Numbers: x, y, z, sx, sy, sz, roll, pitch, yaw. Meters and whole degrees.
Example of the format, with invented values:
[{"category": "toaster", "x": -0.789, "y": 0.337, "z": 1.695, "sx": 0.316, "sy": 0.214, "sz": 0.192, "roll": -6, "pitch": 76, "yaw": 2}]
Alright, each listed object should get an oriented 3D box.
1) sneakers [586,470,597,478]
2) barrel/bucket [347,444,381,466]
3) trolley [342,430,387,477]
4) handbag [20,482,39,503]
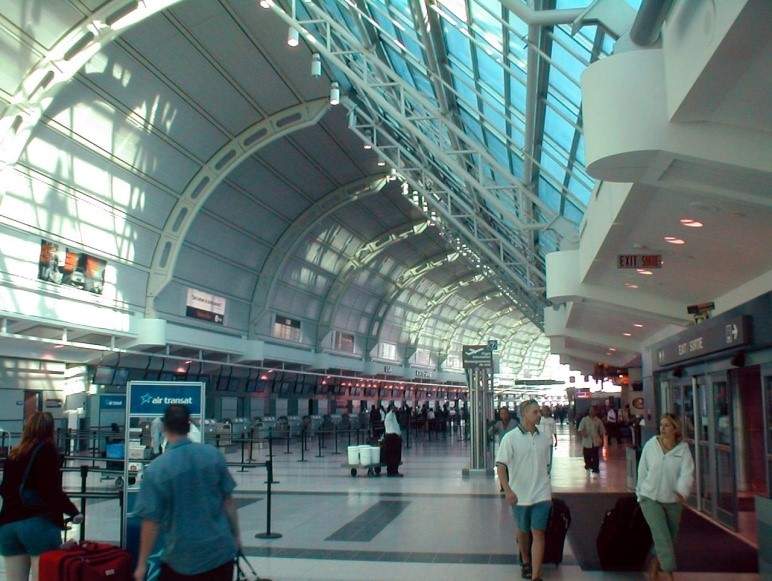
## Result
[{"category": "sneakers", "x": 6.510, "y": 5.826, "z": 18.599, "sx": 0.202, "sy": 0.274, "sz": 0.633, "roll": -2, "pitch": -20, "yaw": 8}, {"category": "barrel/bucket", "x": -0.740, "y": 5.158, "z": 18.525, "sx": 0.538, "sy": 0.598, "sz": 0.944, "roll": 2, "pitch": -5, "yaw": -6}, {"category": "trolley", "x": -0.845, "y": 5.366, "z": 18.713, "sx": 1.414, "sy": 1.126, "sz": 1.036, "roll": -4, "pitch": -7, "yaw": 21}, {"category": "handbag", "x": -3.575, "y": 2.006, "z": 5.822, "sx": 0.158, "sy": 0.216, "sz": 0.120, "roll": -8, "pitch": -3, "yaw": -11}]
